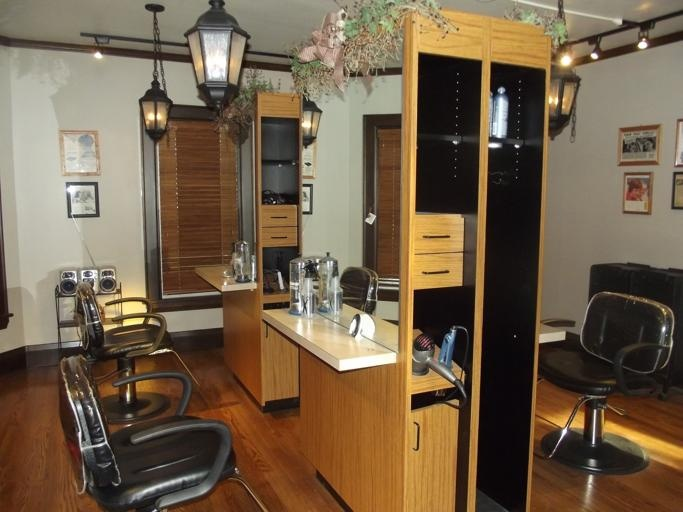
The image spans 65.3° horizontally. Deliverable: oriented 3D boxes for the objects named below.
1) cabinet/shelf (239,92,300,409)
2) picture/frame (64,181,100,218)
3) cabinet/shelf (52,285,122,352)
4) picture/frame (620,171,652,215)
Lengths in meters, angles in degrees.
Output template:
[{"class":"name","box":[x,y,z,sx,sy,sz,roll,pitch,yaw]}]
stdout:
[{"class":"cabinet/shelf","box":[-0.527,-0.117,4.420,0.394,2.519,0.350,-2,-11,3]},{"class":"picture/frame","box":[-2.699,-0.578,5.468,0.354,0.437,0.028,-1,6,-24]},{"class":"cabinet/shelf","box":[-2.323,0.567,4.767,0.658,0.835,0.257,-1,9,-12]},{"class":"picture/frame","box":[2.895,-0.606,5.211,0.056,0.570,0.393,-1,5,-23]}]
